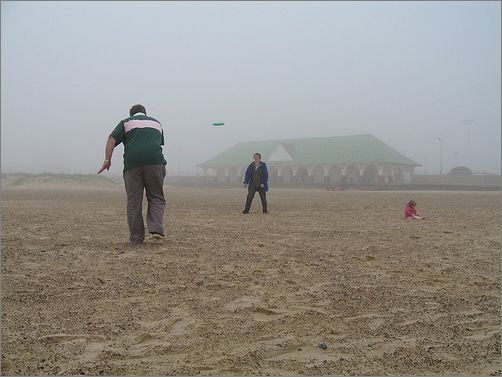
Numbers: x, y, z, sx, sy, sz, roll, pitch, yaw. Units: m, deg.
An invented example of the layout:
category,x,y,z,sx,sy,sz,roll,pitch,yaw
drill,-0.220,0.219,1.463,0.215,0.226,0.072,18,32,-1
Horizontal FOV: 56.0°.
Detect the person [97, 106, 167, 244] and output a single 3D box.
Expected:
category,x,y,z,sx,sy,sz,roll,pitch,yaw
person,-1.615,-0.122,6.695,0.777,1.819,0.411,-2,10,-12
